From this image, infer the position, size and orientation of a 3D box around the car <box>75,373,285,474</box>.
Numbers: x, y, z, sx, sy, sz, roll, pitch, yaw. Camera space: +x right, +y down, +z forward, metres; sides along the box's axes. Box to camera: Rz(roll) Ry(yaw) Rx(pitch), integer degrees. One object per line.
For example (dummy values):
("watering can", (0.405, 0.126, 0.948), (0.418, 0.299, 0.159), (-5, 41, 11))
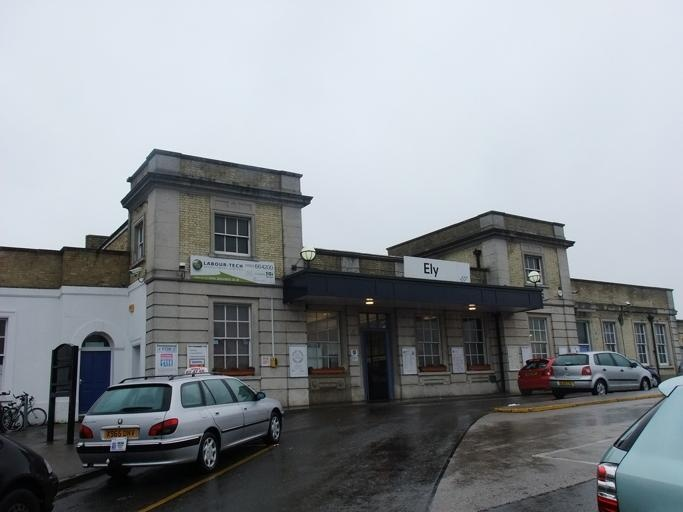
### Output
("car", (-2.718, 3.063, 10.269), (1.718, 1.225, 3.839), (-5, -8, 23))

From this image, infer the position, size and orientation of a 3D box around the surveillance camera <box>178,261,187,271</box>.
("surveillance camera", (-5.769, 0.375, 18.700), (0.268, 0.372, 0.248), (1, -13, -15))

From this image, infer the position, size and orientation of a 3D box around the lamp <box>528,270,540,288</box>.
("lamp", (10.325, 1.335, 27.551), (0.791, 0.977, 0.992), (-6, 8, 20))

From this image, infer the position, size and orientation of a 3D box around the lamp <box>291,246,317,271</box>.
("lamp", (-1.557, 0.083, 20.415), (0.721, 0.934, 1.253), (7, -13, -34))

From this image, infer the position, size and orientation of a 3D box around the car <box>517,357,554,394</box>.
("car", (8.505, 5.229, 22.545), (1.074, 0.893, 1.964), (-4, -6, 33))
